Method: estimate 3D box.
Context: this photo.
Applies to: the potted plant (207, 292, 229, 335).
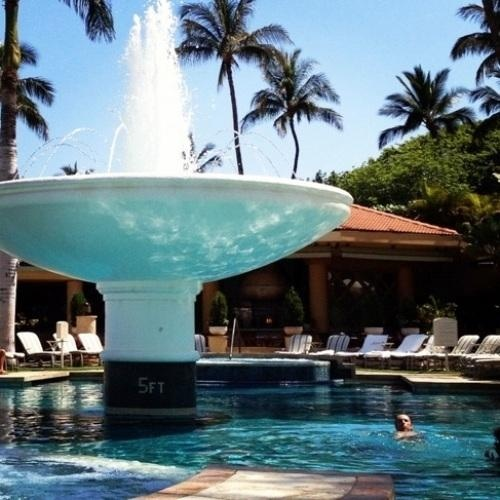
[{"bbox_3d":[-1.102,2.008,21.474,0.595,1.192,0.704,-1,-8,-5],"label":"potted plant"}]
